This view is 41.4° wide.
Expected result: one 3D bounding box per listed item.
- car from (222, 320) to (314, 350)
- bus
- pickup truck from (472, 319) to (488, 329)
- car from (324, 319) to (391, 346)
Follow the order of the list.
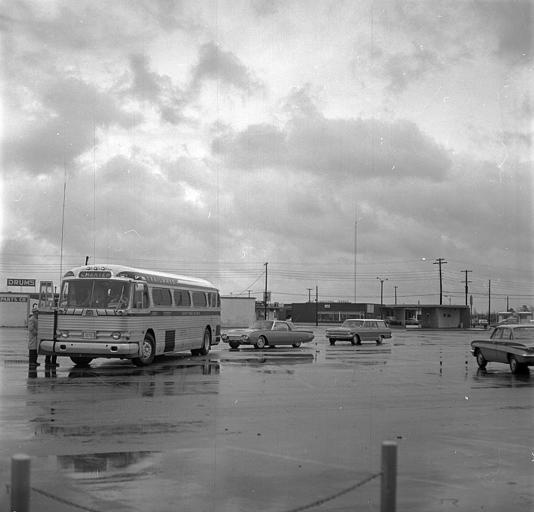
[{"bbox_3d":[-0.074,3.368,30.684,1.486,1.049,3.321,-10,-14,43],"label":"car"},{"bbox_3d":[-3.693,1.709,23.165,2.653,2.965,8.772,-1,-2,19],"label":"bus"},{"bbox_3d":[30.601,9.799,102.701,1.415,1.208,2.288,2,4,20],"label":"pickup truck"},{"bbox_3d":[4.900,3.968,37.234,1.535,1.151,2.758,-9,-12,43],"label":"car"}]
